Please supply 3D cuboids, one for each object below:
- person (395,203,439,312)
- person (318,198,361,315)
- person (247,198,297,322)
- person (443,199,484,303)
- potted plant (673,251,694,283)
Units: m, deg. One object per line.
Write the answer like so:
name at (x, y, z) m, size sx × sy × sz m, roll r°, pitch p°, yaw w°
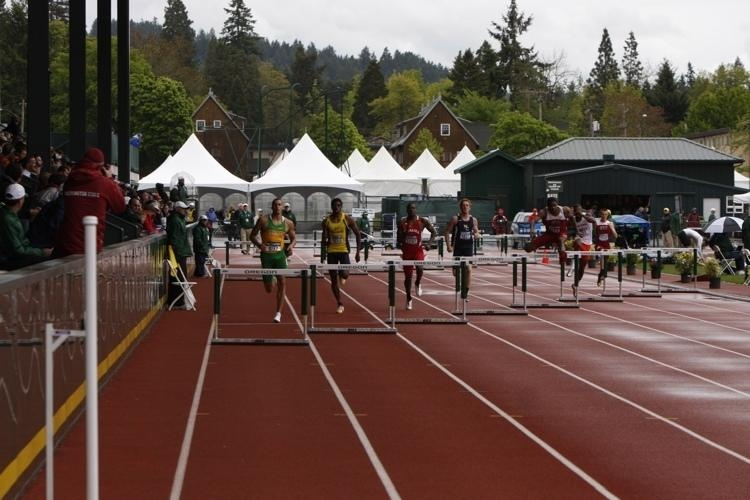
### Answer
person at (0.905, 0.067, 19.223) m, size 0.782 × 2.297 × 1.196 m, roll -1°, pitch -10°, yaw 17°
person at (-0.790, 0.016, 18.983) m, size 0.800 × 2.743 × 0.977 m, roll 1°, pitch -1°, yaw -7°
person at (-2.117, 0.148, 17.579) m, size 0.866 × 2.646 × 0.898 m, roll 0°, pitch -3°, yaw -5°
person at (1.969, -0.096, 19.156) m, size 0.794 × 2.464 × 0.941 m, roll 0°, pitch 0°, yaw 0°
potted plant at (9.524, 0.518, 26.577) m, size 0.694 × 1.106 × 0.757 m, roll 2°, pitch 2°, yaw 32°
